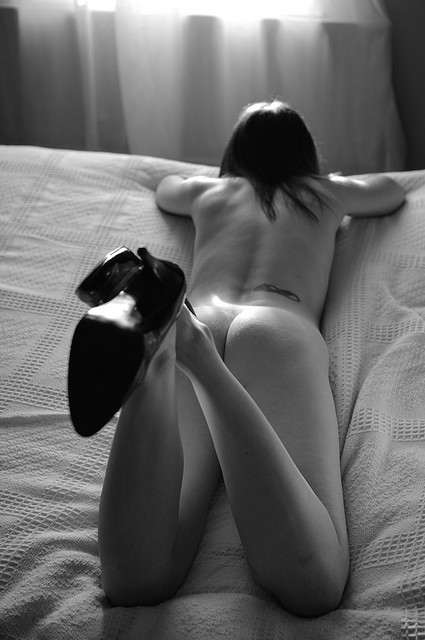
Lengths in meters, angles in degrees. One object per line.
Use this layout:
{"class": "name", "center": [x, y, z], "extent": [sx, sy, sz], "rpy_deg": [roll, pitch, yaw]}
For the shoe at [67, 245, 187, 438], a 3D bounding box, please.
{"class": "shoe", "center": [-0.068, -0.010, 0.510], "extent": [0.061, 0.077, 0.193], "rpy_deg": [7, 59, 29]}
